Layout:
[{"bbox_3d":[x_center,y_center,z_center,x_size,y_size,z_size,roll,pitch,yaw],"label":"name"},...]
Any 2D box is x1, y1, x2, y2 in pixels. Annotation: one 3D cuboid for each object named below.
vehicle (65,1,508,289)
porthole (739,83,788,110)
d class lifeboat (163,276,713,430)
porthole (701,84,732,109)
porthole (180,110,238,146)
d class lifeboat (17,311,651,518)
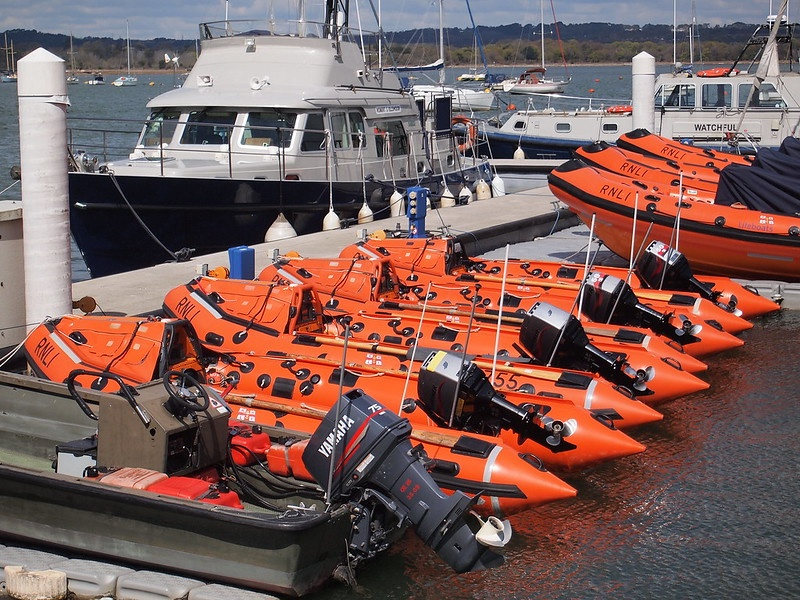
[{"bbox_3d":[-3.564,-3.057,18.370,3.440,4.696,10.464,18,23,38],"label":"vehicle"},{"bbox_3d":[8.526,-4.844,23.842,1.098,0.571,0.237,2,16,16],"label":"porthole"},{"bbox_3d":[0.119,0.490,11.078,5.030,0.902,2.240,6,9,15],"label":"d class lifeboat"},{"bbox_3d":[7.582,-4.931,24.227,0.696,0.502,0.070,5,14,38],"label":"porthole"},{"bbox_3d":[-3.309,-2.990,17.458,0.888,0.679,0.196,5,10,17],"label":"porthole"},{"bbox_3d":[-0.962,0.871,10.377,5.874,1.119,1.539,12,39,-12],"label":"d class lifeboat"}]
